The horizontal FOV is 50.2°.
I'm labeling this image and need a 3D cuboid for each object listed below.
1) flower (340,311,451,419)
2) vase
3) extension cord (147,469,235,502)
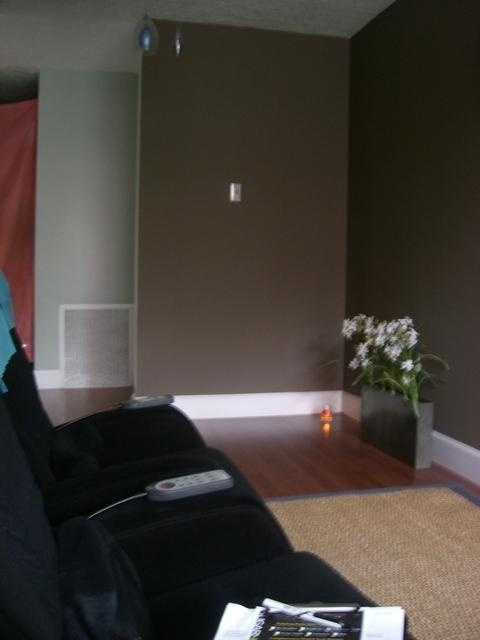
[{"bbox_3d":[0.855,0.230,2.891,0.349,0.498,0.498,-2,5,-17],"label":"flower"},{"bbox_3d":[0.861,0.591,2.840,0.212,0.334,0.344,-1,6,-11],"label":"vase"},{"bbox_3d":[-0.096,0.300,0.931,0.154,0.024,0.067,-1,7,-30],"label":"extension cord"}]
